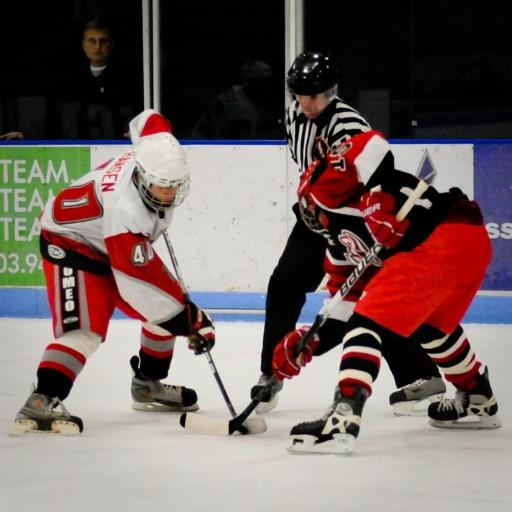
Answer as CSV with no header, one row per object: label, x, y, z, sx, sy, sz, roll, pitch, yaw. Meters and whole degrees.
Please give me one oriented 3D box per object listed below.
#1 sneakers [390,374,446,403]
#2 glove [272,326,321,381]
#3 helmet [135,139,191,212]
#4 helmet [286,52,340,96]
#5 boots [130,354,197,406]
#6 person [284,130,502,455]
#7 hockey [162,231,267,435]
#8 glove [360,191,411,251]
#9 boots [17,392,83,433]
sneakers,0.592,0.490,2.701,0.241,0.100,0.077,-5,-12,-17
glove,0.109,0.312,2.340,0.194,0.108,0.091,-39,-9,12
helmet,-0.312,-0.277,2.383,0.177,0.263,0.156,0,4,-9
helmet,0.203,-0.657,2.664,0.147,0.134,0.182,-7,-6,3
boots,-0.358,0.505,2.834,0.341,0.223,0.119,1,-2,-5
person,0.479,0.225,2.623,0.917,1.164,0.922,-4,-13,19
hockey,-0.158,0.344,2.512,0.280,0.631,0.039,-2,-37,-24
glove,0.366,-0.110,2.117,0.067,0.164,0.141,-37,-7,-28
boots,-0.666,0.514,2.391,0.291,0.158,0.092,2,-3,-10
